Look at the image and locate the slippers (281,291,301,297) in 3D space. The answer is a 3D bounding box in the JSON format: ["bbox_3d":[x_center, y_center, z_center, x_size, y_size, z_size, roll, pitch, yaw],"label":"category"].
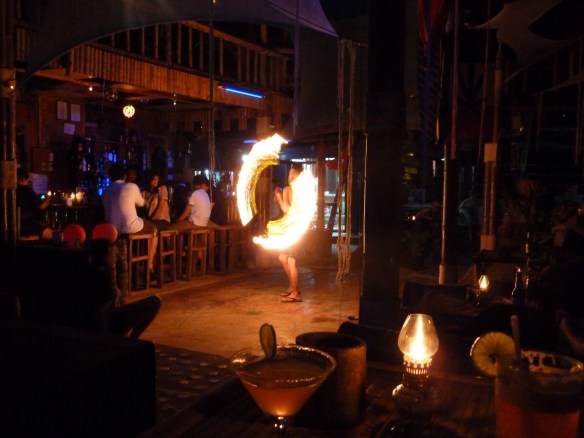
[{"bbox_3d":[-0.039,1.395,10.204,0.294,0.080,0.140,2,-1,-9],"label":"slippers"}]

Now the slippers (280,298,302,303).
[{"bbox_3d":[-0.009,1.495,10.117,0.307,0.081,0.124,3,-3,-33],"label":"slippers"}]
